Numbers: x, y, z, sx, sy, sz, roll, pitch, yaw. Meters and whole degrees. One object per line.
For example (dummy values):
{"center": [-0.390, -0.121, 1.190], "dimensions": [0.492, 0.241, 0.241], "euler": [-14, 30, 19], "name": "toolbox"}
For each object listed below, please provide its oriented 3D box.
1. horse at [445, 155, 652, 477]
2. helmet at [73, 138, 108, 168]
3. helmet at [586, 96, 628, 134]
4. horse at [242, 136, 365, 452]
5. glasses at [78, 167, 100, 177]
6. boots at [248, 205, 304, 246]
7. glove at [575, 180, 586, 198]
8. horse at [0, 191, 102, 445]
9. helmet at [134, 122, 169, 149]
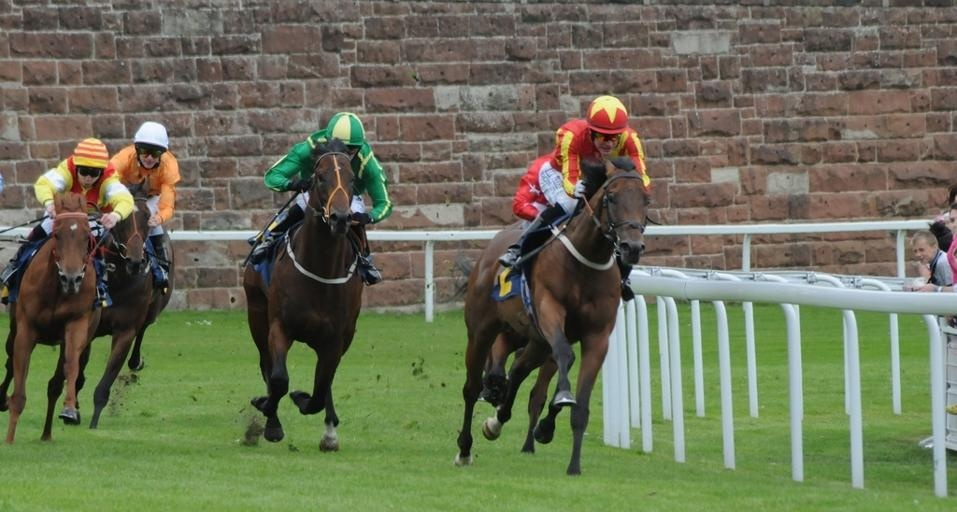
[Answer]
{"center": [0.934, 0.743, 24.319], "dimensions": [2.376, 3.855, 1.130], "euler": [0, -3, 33], "name": "horse"}
{"center": [-4.941, -1.261, 24.943], "dimensions": [0.406, 0.343, 0.422], "euler": [17, -7, -19], "name": "helmet"}
{"center": [1.609, -1.756, 24.668], "dimensions": [0.441, 0.255, 0.550], "euler": [2, 21, -11], "name": "helmet"}
{"center": [-2.215, 0.505, 24.801], "dimensions": [1.553, 3.855, 0.742], "euler": [1, -3, 25], "name": "horse"}
{"center": [-4.936, -1.038, 24.830], "dimensions": [0.340, 0.120, 0.195], "euler": [2, -2, -28], "name": "glasses"}
{"center": [-2.726, -0.367, 26.253], "dimensions": [0.704, 0.186, 0.362], "euler": [-36, 22, -23], "name": "boots"}
{"center": [1.263, -0.796, 24.258], "dimensions": [0.150, 0.171, 0.071], "euler": [-4, -11, 45], "name": "glove"}
{"center": [-5.388, 0.797, 24.672], "dimensions": [1.065, 3.098, 0.887], "euler": [2, -3, -3], "name": "horse"}
{"center": [-4.322, -1.560, 25.819], "dimensions": [0.389, 0.365, 0.401], "euler": [1, -2, 0], "name": "helmet"}
